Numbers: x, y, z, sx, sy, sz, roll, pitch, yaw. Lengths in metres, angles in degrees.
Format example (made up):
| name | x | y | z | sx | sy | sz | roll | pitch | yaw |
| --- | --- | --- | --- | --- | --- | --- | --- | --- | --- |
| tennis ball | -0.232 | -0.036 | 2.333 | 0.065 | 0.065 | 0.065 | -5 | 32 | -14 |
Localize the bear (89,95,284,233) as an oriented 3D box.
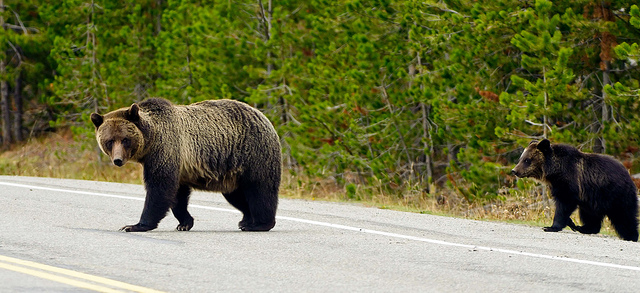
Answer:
| name | x | y | z | sx | sy | sz | roll | pitch | yaw |
| --- | --- | --- | --- | --- | --- | --- | --- | --- | --- |
| bear | -4.185 | 0.683 | 24.540 | 6.109 | 4.042 | 3.109 | 1 | -2 | -37 |
